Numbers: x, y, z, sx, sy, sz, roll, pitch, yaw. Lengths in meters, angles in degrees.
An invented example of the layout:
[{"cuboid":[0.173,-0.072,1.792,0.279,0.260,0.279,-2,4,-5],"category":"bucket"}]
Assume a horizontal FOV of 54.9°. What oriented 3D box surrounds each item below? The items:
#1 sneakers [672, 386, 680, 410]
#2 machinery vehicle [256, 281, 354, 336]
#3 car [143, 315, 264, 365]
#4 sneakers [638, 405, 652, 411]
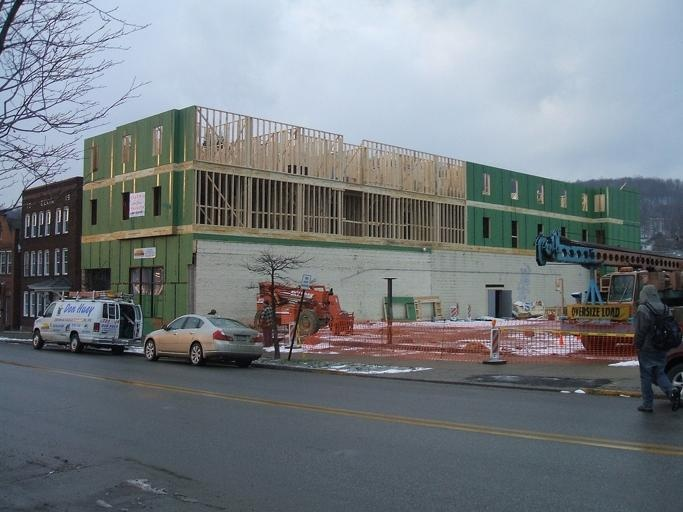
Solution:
[{"cuboid":[6.403,2.703,12.533,0.153,0.536,0.208,-2,8,15],"category":"sneakers"},{"cuboid":[-1.991,2.774,34.515,4.526,2.555,2.596,-4,-6,35],"category":"machinery vehicle"},{"cuboid":[-4.830,2.919,23.174,3.783,1.456,1.788,-1,-6,43],"category":"car"},{"cuboid":[5.865,2.948,12.644,0.258,0.109,0.218,-4,-9,24],"category":"sneakers"}]
